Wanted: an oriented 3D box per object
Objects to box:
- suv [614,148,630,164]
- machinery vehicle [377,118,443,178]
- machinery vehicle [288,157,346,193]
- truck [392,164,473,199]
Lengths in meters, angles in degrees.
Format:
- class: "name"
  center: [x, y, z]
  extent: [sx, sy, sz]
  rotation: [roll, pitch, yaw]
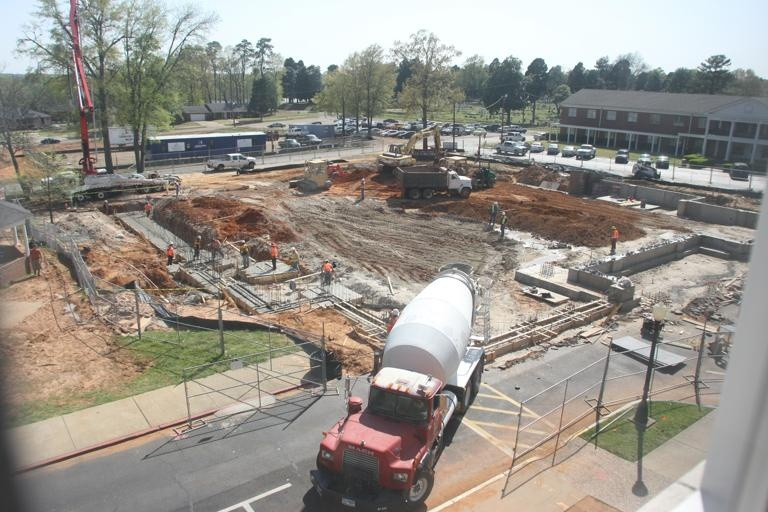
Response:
- class: "suv"
  center: [28.559, -11.895, 65.335]
  extent: [1.644, 1.267, 3.430]
  rotation: [8, 21, 32]
- class: "machinery vehicle"
  center: [2.566, -10.393, 52.396]
  extent: [6.666, 3.710, 2.311]
  rotation: [-17, 37, -29]
- class: "machinery vehicle"
  center: [-6.563, -7.774, 50.953]
  extent: [3.001, 2.336, 5.553]
  rotation: [-14, 24, -39]
- class: "truck"
  center: [4.028, -6.364, 46.496]
  extent: [5.416, 1.975, 3.457]
  rotation: [-4, 20, -10]
